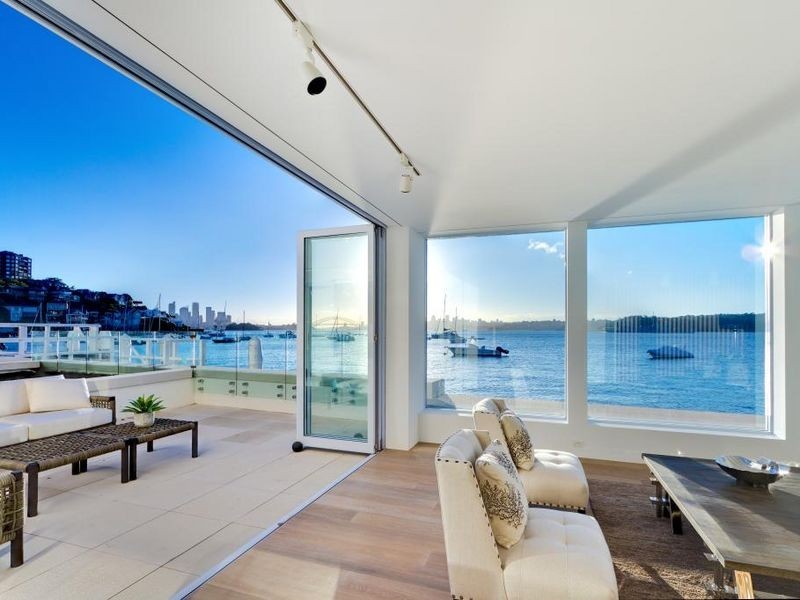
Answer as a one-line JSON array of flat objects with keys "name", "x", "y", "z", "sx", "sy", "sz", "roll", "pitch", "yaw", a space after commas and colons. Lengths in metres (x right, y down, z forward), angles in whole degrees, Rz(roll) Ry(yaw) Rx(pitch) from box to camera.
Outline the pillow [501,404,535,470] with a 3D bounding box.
[{"name": "pillow", "x": 1.145, "y": 1.335, "z": 4.776, "sx": 0.234, "sy": 0.454, "sz": 0.659, "roll": -7, "pitch": 1, "yaw": 15}]

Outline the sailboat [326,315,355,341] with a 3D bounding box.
[{"name": "sailboat", "x": -0.743, "y": 0.422, "z": 6.661, "sx": 0.390, "sy": 0.451, "sz": 0.190, "roll": 0, "pitch": -1, "yaw": 8}]

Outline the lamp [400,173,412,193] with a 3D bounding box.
[{"name": "lamp", "x": 0.054, "y": -1.106, "z": 4.618, "sx": 0.110, "sy": 0.171, "sz": 0.237, "roll": 0, "pitch": 6, "yaw": 2}]

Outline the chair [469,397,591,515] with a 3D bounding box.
[{"name": "chair", "x": 1.172, "y": 1.494, "z": 4.683, "sx": 1.026, "sy": 0.999, "sz": 1.053, "roll": -2, "pitch": -2, "yaw": 12}]

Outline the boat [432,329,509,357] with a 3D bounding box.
[{"name": "boat", "x": 0.978, "y": 0.612, "z": 6.996, "sx": 1.050, "sy": 0.367, "sz": 0.334, "roll": 2, "pitch": -3, "yaw": 22}]

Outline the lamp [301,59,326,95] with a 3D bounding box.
[{"name": "lamp", "x": -0.562, "y": -1.468, "z": 3.235, "sx": 0.127, "sy": 0.252, "sz": 0.254, "roll": -1, "pitch": 6, "yaw": -9}]
